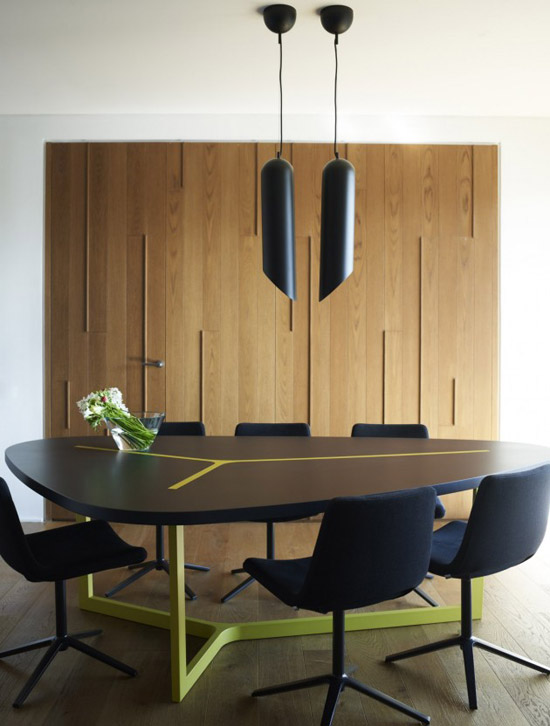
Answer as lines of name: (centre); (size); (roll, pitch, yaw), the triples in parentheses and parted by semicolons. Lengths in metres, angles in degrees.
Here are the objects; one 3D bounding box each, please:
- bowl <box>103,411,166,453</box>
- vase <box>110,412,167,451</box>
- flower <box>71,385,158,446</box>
bowl: (-0.581, 0.285, 2.909); (0.139, 0.134, 0.172); (-3, 0, 13)
vase: (-0.582, 0.288, 2.929); (0.135, 0.124, 0.168); (-2, 3, -7)
flower: (-0.653, 0.237, 2.862); (0.237, 0.156, 0.246); (16, 0, 29)
